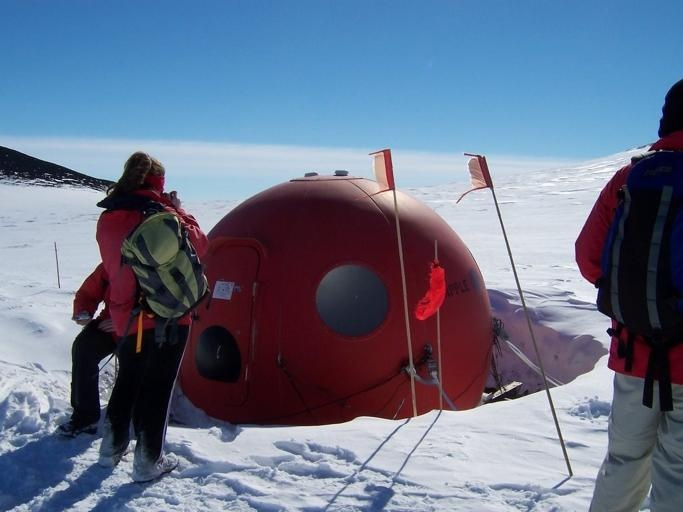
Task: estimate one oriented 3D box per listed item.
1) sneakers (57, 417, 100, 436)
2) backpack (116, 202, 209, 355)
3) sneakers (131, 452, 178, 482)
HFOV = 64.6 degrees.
[{"bbox_3d":[-2.195,1.409,4.472,0.270,0.130,0.119,11,-4,-19],"label":"sneakers"},{"bbox_3d":[-1.267,0.187,4.017,0.438,0.999,0.628,8,22,3],"label":"backpack"},{"bbox_3d":[-1.368,1.555,4.014,0.128,0.168,0.364,0,6,23],"label":"sneakers"}]
